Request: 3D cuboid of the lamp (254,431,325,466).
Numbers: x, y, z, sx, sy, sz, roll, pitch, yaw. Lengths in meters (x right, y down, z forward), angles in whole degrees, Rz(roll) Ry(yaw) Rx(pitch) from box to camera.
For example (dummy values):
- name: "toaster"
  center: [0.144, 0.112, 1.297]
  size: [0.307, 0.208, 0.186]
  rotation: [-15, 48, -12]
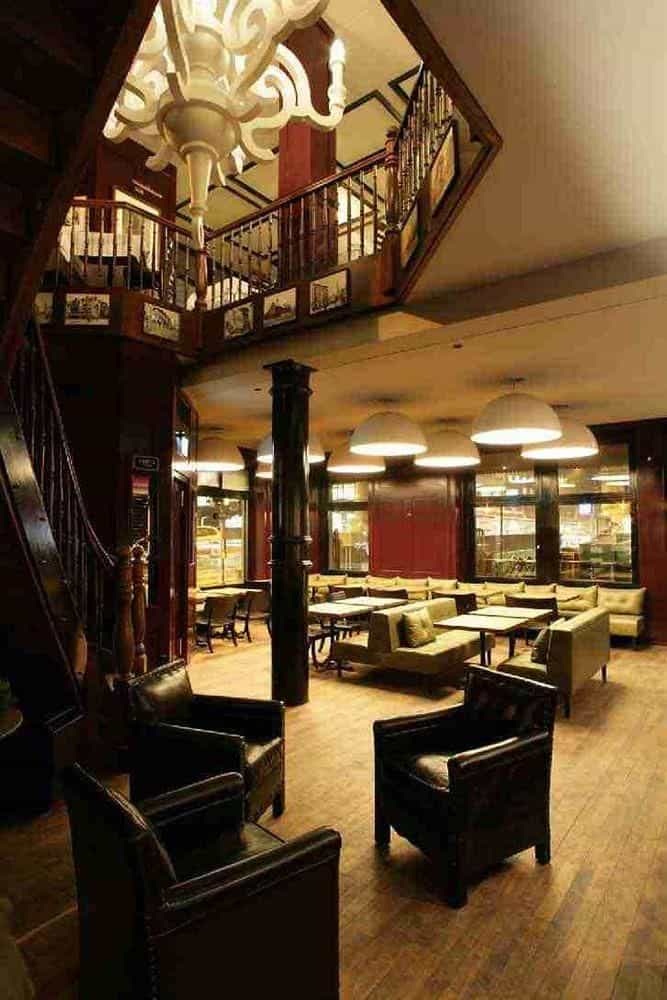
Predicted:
- name: "lamp"
  center: [-0.432, -0.527, 7.118]
  size: [0.508, 0.328, 0.566]
  rotation: [1, -3, 1]

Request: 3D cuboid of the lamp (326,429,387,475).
- name: "lamp"
  center: [0.226, -0.466, 8.344]
  size: [0.520, 0.372, 0.581]
  rotation: [0, -3, 1]

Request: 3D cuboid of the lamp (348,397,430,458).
- name: "lamp"
  center: [0.486, -0.566, 6.379]
  size: [0.464, 0.387, 0.520]
  rotation: [0, -9, 4]

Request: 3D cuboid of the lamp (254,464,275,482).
- name: "lamp"
  center: [-0.961, -0.389, 9.785]
  size: [0.311, 0.201, 0.348]
  rotation: [0, -4, 3]

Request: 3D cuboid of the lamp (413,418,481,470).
- name: "lamp"
  center: [1.173, -0.498, 7.202]
  size: [0.687, 0.525, 0.769]
  rotation: [0, -6, 5]

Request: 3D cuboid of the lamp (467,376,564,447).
- name: "lamp"
  center: [1.503, -0.612, 5.700]
  size: [0.592, 0.507, 0.625]
  rotation: [-6, -10, 39]

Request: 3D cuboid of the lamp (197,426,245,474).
- name: "lamp"
  center: [-1.403, -0.550, 8.790]
  size: [0.618, 0.495, 0.682]
  rotation: [-1, 5, -7]

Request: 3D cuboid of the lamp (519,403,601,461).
- name: "lamp"
  center: [2.226, -0.514, 7.019]
  size: [0.698, 0.507, 0.764]
  rotation: [0, -5, -10]
